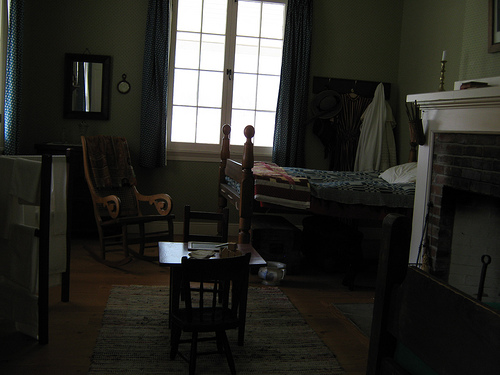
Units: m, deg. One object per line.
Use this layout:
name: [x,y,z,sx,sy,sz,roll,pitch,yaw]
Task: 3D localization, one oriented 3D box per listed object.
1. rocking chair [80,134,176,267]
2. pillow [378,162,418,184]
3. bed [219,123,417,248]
rocking chair: [-1.244,0.130,4.471,0.977,1.356,0.640,2,3,44]
pillow: [1.556,-0.136,4.444,0.261,0.080,0.244,-10,23,41]
bed: [0.754,-0.025,4.426,1.886,1.243,1.189,-1,14,-12]
